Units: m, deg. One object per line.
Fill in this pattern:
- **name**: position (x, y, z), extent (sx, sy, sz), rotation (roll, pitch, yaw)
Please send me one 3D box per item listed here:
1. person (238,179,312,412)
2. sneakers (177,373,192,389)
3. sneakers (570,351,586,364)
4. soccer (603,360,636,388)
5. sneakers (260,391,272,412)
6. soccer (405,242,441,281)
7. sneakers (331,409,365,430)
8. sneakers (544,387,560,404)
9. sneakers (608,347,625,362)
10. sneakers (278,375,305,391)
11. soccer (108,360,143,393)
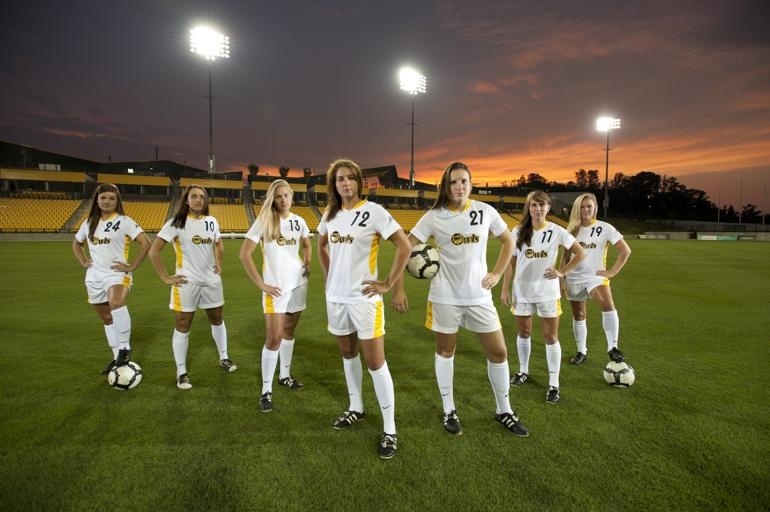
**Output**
- **person**: position (-1.963, 0.689, 9.029), extent (0.716, 4.052, 1.245), rotation (5, 6, 36)
- **sneakers**: position (-3.770, 2.358, 9.200), extent (0.262, 0.241, 0.316), rotation (0, 5, -22)
- **sneakers**: position (3.876, 2.114, 9.974), extent (0.170, 0.148, 0.379), rotation (-4, -7, 41)
- **soccer**: position (4.307, 2.230, 9.146), extent (0.511, 0.417, 0.404), rotation (-8, 29, 11)
- **sneakers**: position (-2.111, 2.604, 8.683), extent (0.234, 0.287, 0.250), rotation (1, 5, -15)
- **soccer**: position (0.620, 0.132, 8.183), extent (0.537, 0.639, 0.564), rotation (-2, -4, -4)
- **sneakers**: position (-0.652, 2.815, 8.383), extent (0.580, 0.190, 0.203), rotation (4, -8, -30)
- **sneakers**: position (3.030, 2.519, 8.855), extent (0.363, 0.250, 0.226), rotation (0, 5, -24)
- **sneakers**: position (4.471, 1.958, 9.550), extent (0.193, 0.193, 0.402), rotation (-4, -15, 17)
- **sneakers**: position (-1.795, 2.428, 9.301), extent (0.488, 0.197, 0.199), rotation (4, 1, 23)
- **soccer**: position (-4.792, 2.282, 9.155), extent (0.494, 0.495, 0.507), rotation (-26, -32, -2)
